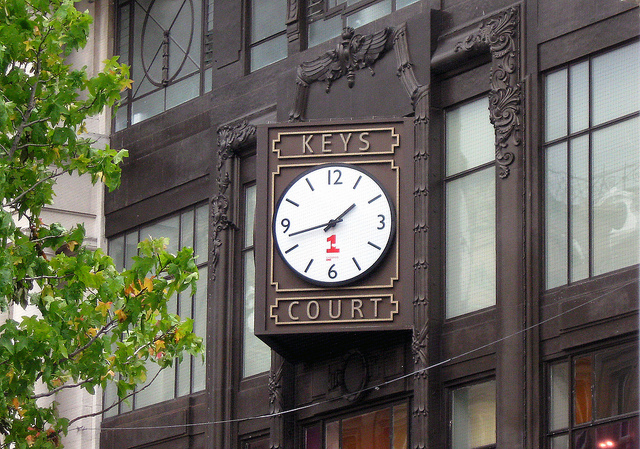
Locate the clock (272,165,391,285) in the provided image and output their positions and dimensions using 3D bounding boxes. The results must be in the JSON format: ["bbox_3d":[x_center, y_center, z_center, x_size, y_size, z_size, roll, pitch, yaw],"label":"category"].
[{"bbox_3d":[0.326,0.151,44.354,2.294,2.164,0.341,-4,-20,13],"label":"clock"}]
